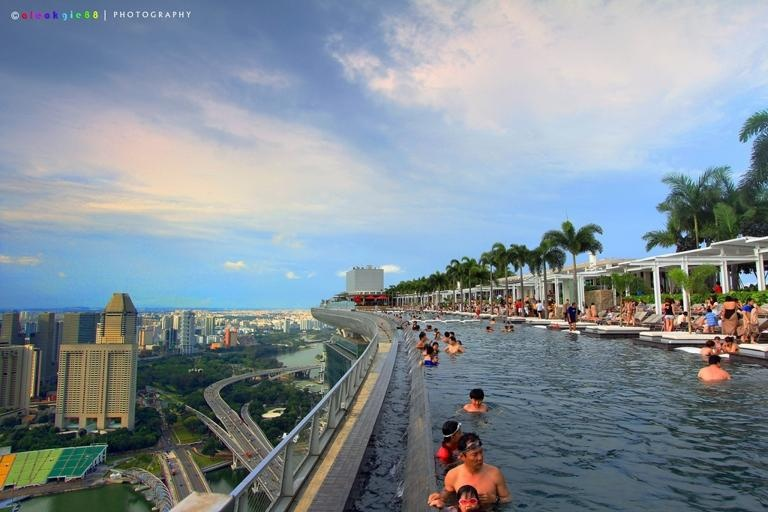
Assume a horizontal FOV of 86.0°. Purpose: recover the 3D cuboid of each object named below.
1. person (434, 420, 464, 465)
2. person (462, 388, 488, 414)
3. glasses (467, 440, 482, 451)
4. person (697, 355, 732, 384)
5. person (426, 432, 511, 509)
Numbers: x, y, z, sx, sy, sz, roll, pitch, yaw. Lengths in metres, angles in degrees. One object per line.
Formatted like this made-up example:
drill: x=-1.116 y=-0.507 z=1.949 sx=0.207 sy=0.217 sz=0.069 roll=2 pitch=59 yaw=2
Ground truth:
person: x=1.265 y=3.646 z=8.037 sx=0.563 sy=0.756 sz=0.721 roll=-2 pitch=2 yaw=31
person: x=2.395 y=3.831 z=10.816 sx=0.619 sy=0.583 sz=0.790 roll=3 pitch=-6 yaw=13
glasses: x=1.440 y=3.106 z=6.645 sx=0.187 sy=0.069 sz=0.167 roll=-17 pitch=-19 yaw=34
person: x=10.917 y=3.803 z=13.674 sx=0.861 sy=0.870 sz=0.930 roll=1 pitch=-7 yaw=32
person: x=1.403 y=3.767 z=7.047 sx=1.207 sy=0.946 sz=0.657 roll=-1 pitch=-13 yaw=-14
